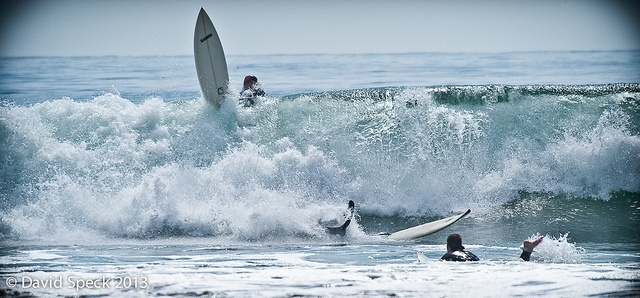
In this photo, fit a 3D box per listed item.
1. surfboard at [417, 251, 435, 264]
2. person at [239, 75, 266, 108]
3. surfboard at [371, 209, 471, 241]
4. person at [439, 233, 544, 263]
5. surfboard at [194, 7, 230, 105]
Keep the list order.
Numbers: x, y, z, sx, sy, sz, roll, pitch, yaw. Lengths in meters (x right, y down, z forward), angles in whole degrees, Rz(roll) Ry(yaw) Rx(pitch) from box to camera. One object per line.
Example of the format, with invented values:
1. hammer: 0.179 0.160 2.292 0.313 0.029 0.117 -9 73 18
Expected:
1. surfboard: 3.571 3.631 26.965 0.510 0.233 0.721 -2 9 -4
2. person: -2.718 -2.296 31.239 1.061 1.169 0.598 -5 12 -17
3. surfboard: 3.749 2.780 28.742 4.320 0.471 0.428 -8 20 -8
4. person: 5.875 3.280 26.832 3.856 1.268 1.127 -1 -18 9
5. surfboard: -4.222 -3.525 30.789 1.288 3.794 0.883 -3 13 -7
